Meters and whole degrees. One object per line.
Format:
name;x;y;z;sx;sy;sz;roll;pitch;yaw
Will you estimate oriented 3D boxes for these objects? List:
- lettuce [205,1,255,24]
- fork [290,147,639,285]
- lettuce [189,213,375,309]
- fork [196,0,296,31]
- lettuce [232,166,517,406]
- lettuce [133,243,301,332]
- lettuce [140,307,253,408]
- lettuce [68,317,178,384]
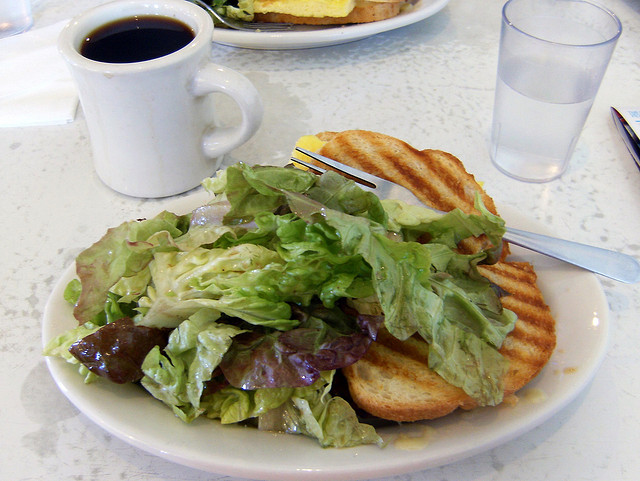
lettuce;-0.231;-0.574;1.384;0.113;0.027;0.082;-8;43;-8
fork;0.236;-0.038;0.871;0.807;0.063;0.033;17;19;0
lettuce;-0.051;0.016;0.718;0.242;0.094;0.071;3;89;6
fork;-0.186;-0.553;1.338;0.261;0.053;0.078;7;53;8
lettuce;0.017;0.089;0.788;0.449;0.073;0.268;36;38;1
lettuce;-0.127;0.069;0.710;0.230;0.051;0.108;6;52;18
lettuce;-0.190;0.140;0.725;0.180;0.044;0.154;-9;20;0
lettuce;-0.248;0.138;0.708;0.178;0.035;0.076;-9;77;16
